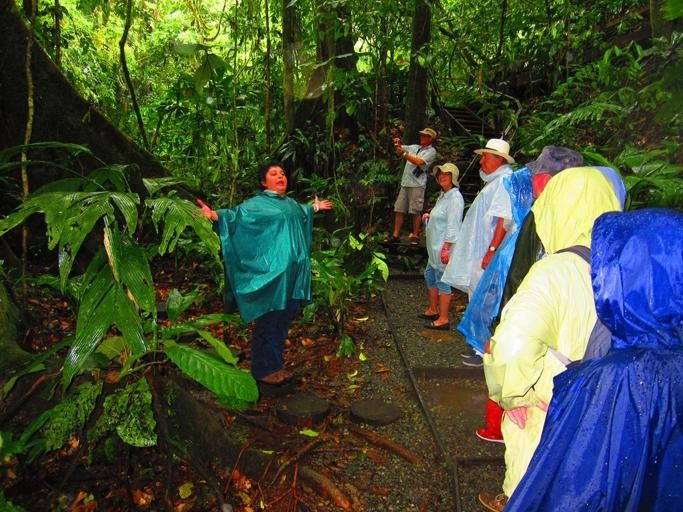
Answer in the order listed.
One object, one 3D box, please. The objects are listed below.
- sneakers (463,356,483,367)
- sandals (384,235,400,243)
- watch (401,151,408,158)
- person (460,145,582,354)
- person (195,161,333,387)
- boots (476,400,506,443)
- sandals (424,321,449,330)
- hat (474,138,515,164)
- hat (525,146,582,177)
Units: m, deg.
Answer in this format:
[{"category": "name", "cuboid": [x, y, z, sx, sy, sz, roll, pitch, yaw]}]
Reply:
[{"category": "sneakers", "cuboid": [1.243, 0.981, 5.215, 0.203, 0.085, 0.119, 1, -2, 28]}, {"category": "sandals", "cuboid": [0.734, -0.247, 8.054, 0.230, 0.102, 0.094, 2, 8, -7]}, {"category": "watch", "cuboid": [0.904, -1.420, 7.808, 0.098, 0.039, 0.101, -3, 30, 8]}, {"category": "person", "cuboid": [1.315, 0.097, 4.739, 0.691, 1.369, 0.663, 35, -2, -7]}, {"category": "person", "cuboid": [-0.655, 0.218, 4.726, 1.018, 1.923, 0.572, -9, 19, -30]}, {"category": "boots", "cuboid": [0.970, 1.035, 3.569, 0.197, 0.299, 0.098, 0, 13, 32]}, {"category": "sandals", "cuboid": [1.035, 0.760, 5.957, 0.248, 0.084, 0.093, 2, 1, 6]}, {"category": "hat", "cuboid": [1.411, -0.974, 5.016, 0.305, 0.130, 0.272, 15, 4, -5]}, {"category": "hat", "cuboid": [1.589, -0.650, 4.129, 0.350, 0.161, 0.263, 16, 45, 40]}]
